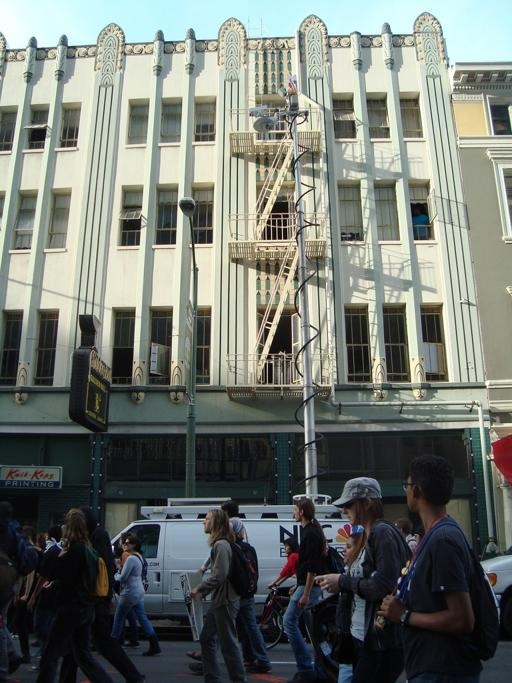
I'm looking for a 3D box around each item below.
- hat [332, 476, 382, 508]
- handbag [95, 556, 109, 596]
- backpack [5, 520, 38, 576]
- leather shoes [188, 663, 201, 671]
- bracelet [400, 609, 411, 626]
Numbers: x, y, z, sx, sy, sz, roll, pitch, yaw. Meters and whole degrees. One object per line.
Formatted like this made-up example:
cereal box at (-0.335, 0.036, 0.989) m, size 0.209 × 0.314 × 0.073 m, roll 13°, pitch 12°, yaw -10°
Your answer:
hat at (0.641, 0.947, 3.965) m, size 0.266 × 0.154 × 0.193 m, roll -3°, pitch -13°, yaw 1°
handbag at (-1.363, 2.091, 5.582) m, size 0.098 × 0.330 × 0.434 m, roll 4°, pitch -18°, yaw -13°
backpack at (-1.629, 1.436, 4.347) m, size 0.122 × 0.336 × 0.233 m, roll -28°, pitch 2°, yaw 7°
leather shoes at (-0.714, 3.867, 7.471) m, size 0.071 × 0.093 × 0.193 m, roll 35°, pitch -34°, yaw -14°
bracelet at (0.607, 1.123, 2.561) m, size 0.036 × 0.062 × 0.055 m, roll 0°, pitch -41°, yaw 7°
